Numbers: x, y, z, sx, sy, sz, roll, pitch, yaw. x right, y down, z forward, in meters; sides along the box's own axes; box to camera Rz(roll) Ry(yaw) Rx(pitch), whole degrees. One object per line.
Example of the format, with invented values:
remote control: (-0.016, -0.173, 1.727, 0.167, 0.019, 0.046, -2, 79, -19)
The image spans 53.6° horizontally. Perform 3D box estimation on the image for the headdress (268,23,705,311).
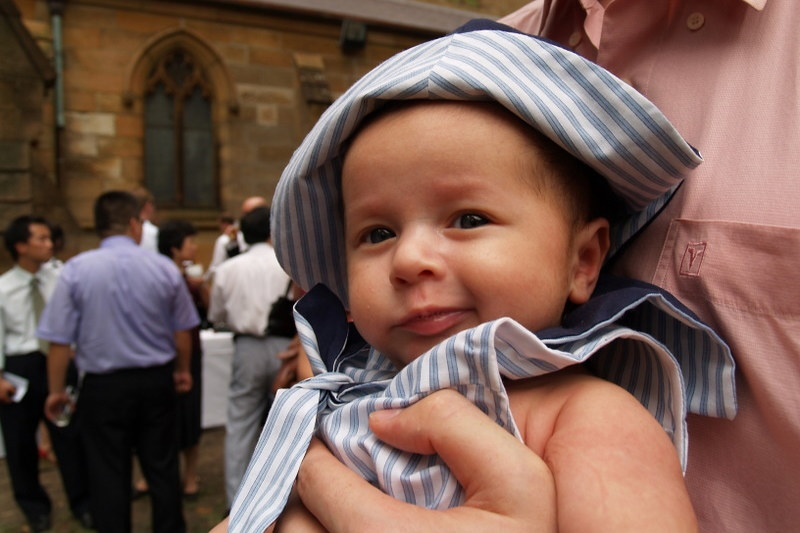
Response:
headdress: (0.218, -0.313, 2.178, 0.745, 0.357, 0.798, -1, -42, -2)

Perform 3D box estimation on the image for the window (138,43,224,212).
window: (-0.572, -0.345, 2.063, 0.206, 0.502, 0.051, 0, -16, -18)
